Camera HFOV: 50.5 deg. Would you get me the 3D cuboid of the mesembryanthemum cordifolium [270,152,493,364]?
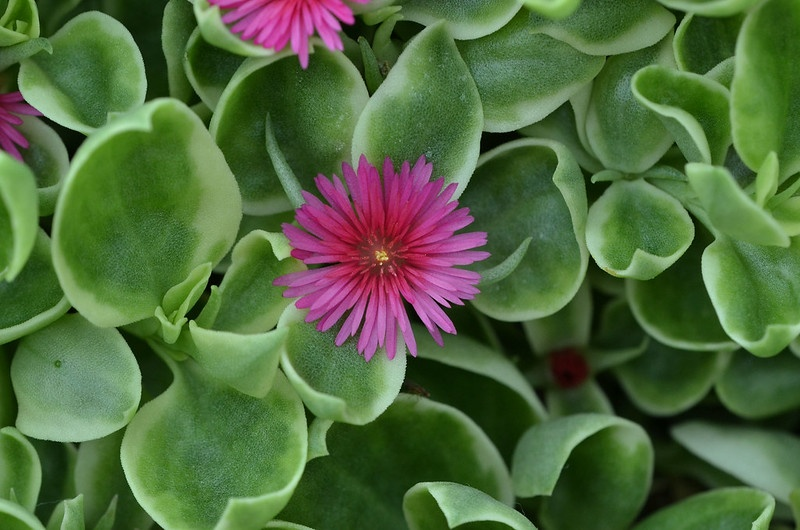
[{"bbox_3d":[-0.010,-0.016,0.682,0.160,0.148,0.115,12,22,-1],"label":"mesembryanthemum cordifolium"}]
